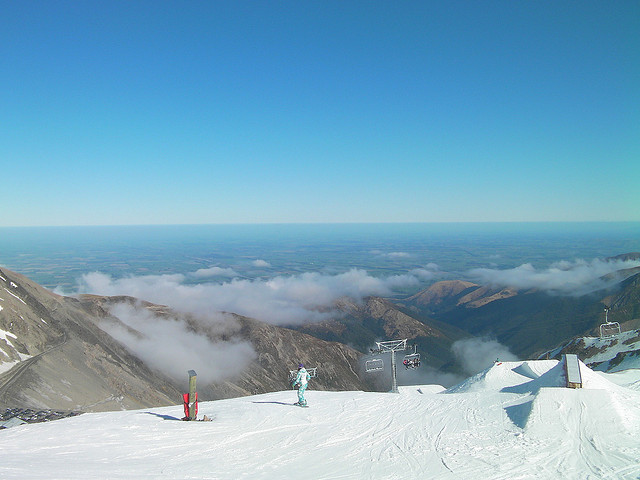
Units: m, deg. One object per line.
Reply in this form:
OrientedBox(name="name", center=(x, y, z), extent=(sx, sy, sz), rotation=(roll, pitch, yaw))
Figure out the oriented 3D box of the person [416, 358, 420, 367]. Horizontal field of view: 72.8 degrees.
OrientedBox(name="person", center=(10.804, 13.414, 47.737), extent=(0.638, 0.740, 0.212), rotation=(-3, 4, 8))
